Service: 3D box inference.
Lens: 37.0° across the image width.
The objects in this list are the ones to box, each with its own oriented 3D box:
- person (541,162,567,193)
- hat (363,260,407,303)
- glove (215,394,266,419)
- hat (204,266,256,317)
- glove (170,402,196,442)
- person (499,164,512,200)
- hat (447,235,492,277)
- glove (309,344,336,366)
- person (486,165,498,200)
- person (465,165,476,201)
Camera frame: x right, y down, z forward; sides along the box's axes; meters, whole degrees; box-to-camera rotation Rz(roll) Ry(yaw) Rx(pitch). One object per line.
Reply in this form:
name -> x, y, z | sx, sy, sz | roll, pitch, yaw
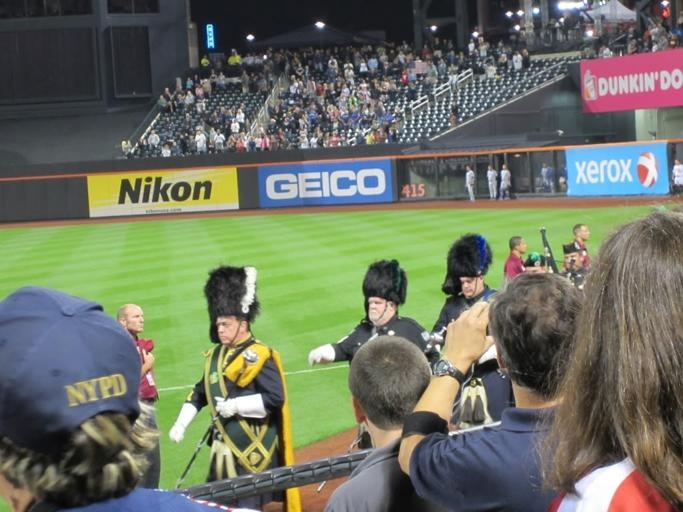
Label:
person -> 5.934, -2.203, 28.611 | 0.419, 0.805, 1.090 | -7, 11, -15
hat -> 0.461, 0.229, 9.610 | 0.340, 0.430, 0.417 | 0, 4, -40
glove -> -0.856, 1.269, 8.643 | 0.316, 0.162, 0.214 | -2, -26, 4
hat -> -0.961, 0.304, 9.181 | 0.469, 0.446, 0.373 | 0, 0, 18
glove -> -1.386, 1.477, 9.002 | 0.200, 0.353, 0.310 | -2, 11, 13
person -> 4.791, -2.220, 29.811 | 0.357, 0.986, 0.497 | -2, 10, 9
hat -> 1.291, -0.019, 10.154 | 0.367, 0.424, 0.438 | -4, 15, -1
glove -> -0.178, 0.933, 9.531 | 0.241, 0.200, 0.221 | -6, 10, -8
person -> 4.470, -2.203, 30.047 | 0.292, 0.959, 0.526 | -3, 10, 8
person -> 3.828, -2.207, 30.387 | 0.305, 1.021, 0.415 | -1, 11, 15
